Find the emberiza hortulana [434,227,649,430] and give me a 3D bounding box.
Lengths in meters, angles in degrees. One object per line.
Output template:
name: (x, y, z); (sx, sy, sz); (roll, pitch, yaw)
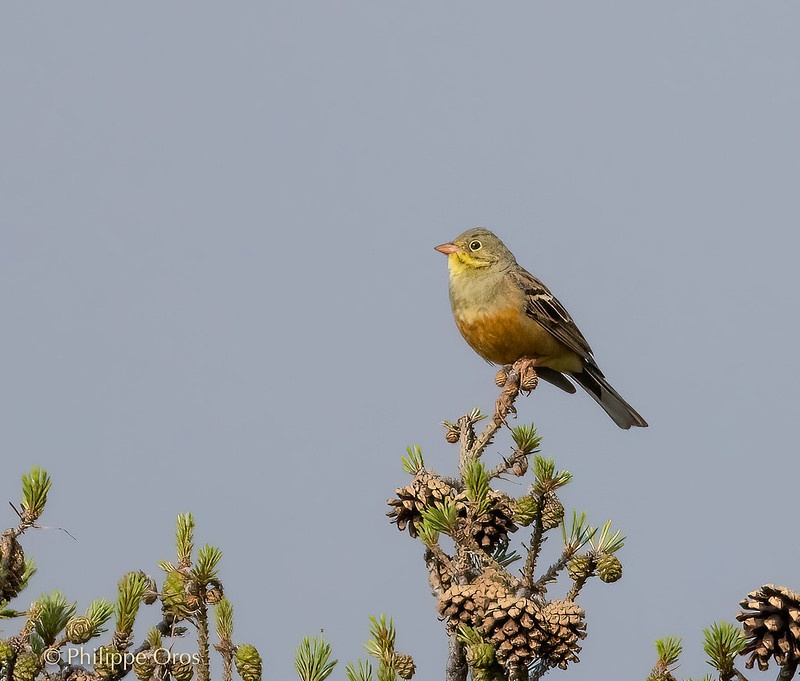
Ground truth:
emberiza hortulana: (0.676, -0.081, 7.055); (1.166, 0.719, 0.401); (16, -26, -25)
